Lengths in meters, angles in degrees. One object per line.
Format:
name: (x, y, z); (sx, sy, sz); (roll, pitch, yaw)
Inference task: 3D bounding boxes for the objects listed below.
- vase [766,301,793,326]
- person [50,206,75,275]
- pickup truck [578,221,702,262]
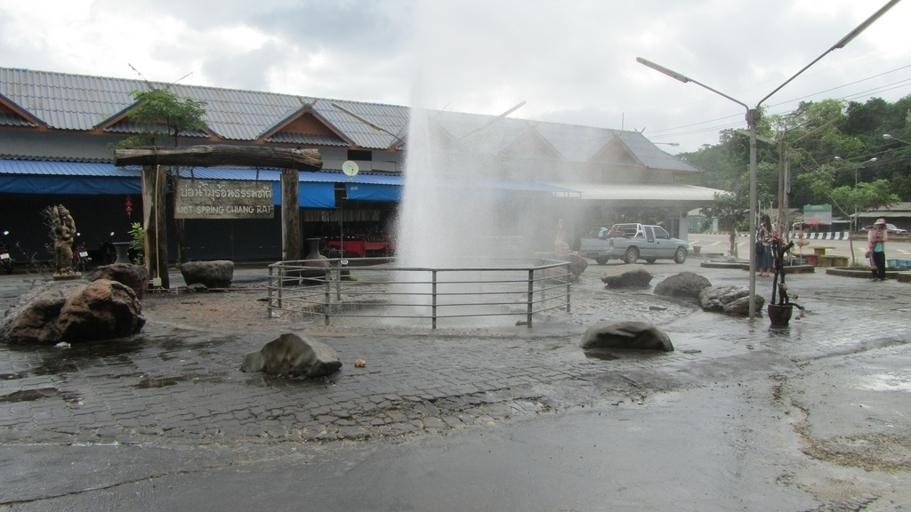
vase: (8.684, 1.543, 17.107); (0.646, 0.487, 0.603); (-1, 2, -6)
person: (-13.206, -0.533, 21.813); (0.567, 2.334, 0.916); (-3, 3, -31)
pickup truck: (9.023, -0.647, 32.631); (4.577, 1.421, 2.295); (-3, 5, -23)
